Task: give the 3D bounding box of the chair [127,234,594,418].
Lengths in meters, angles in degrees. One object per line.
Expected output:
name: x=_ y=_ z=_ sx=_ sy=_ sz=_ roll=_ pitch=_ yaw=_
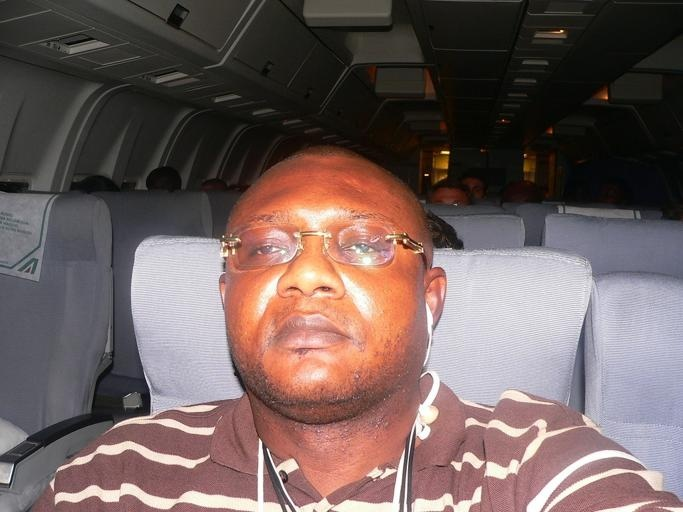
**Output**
chair: x=0.083 y=0.191 z=1.323 sx=0.638 sy=0.390 sz=0.314 roll=1 pitch=9 yaw=5
